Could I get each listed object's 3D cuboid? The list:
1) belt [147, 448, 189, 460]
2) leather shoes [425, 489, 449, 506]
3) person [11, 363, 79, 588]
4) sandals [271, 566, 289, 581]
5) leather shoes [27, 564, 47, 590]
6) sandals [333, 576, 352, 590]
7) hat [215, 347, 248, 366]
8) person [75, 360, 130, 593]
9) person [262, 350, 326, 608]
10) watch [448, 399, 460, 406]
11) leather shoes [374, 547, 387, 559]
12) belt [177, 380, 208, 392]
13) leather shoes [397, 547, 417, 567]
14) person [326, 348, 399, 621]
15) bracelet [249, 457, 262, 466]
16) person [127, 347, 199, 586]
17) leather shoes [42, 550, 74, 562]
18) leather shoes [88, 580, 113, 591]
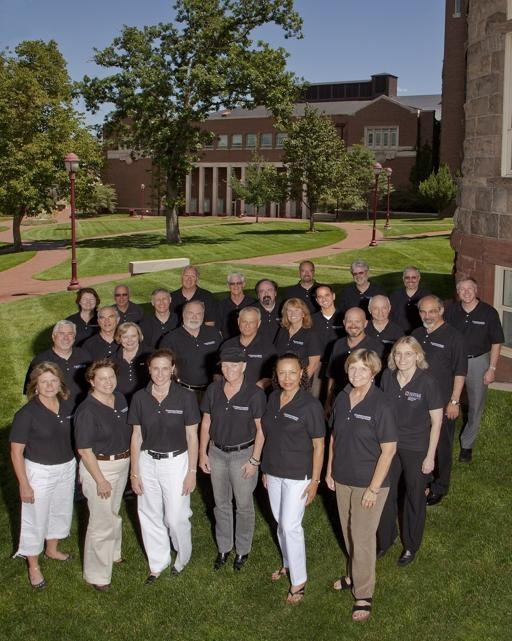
[{"bbox_3d":[-0.767,1.131,4.588,0.321,0.070,0.082,-1,7,-6],"label":"belt"},{"bbox_3d":[2.125,2.037,6.326,0.396,0.146,0.151,-1,-2,-29],"label":"leather shoes"},{"bbox_3d":[-1.845,1.341,4.735,0.383,2.007,0.636,1,8,15],"label":"person"},{"bbox_3d":[0.214,2.273,4.912,0.251,0.097,0.075,9,-10,-43],"label":"sandals"},{"bbox_3d":[-1.950,2.268,4.810,0.089,0.096,0.255,-1,10,-36],"label":"leather shoes"},{"bbox_3d":[0.750,2.297,4.740,0.166,0.051,0.079,0,40,6],"label":"sandals"},{"bbox_3d":[-0.198,0.312,4.726,0.152,0.132,0.285,6,10,41],"label":"hat"},{"bbox_3d":[-1.293,1.344,4.646,0.508,2.042,0.369,-6,9,-32],"label":"person"},{"bbox_3d":[0.275,1.308,4.515,0.433,2.107,0.543,-3,8,-20],"label":"person"},{"bbox_3d":[2.170,0.891,5.925,0.085,0.055,0.089,4,-5,-8],"label":"watch"},{"bbox_3d":[1.176,2.212,5.203,0.114,0.124,0.149,-11,-21,31],"label":"leather shoes"},{"bbox_3d":[-0.782,0.817,6.723,0.309,0.075,0.305,2,0,17],"label":"belt"},{"bbox_3d":[1.417,2.233,5.136,0.092,0.088,0.218,-13,5,32],"label":"leather shoes"},{"bbox_3d":[0.830,1.304,4.351,0.375,2.172,0.605,-3,8,-20],"label":"person"},{"bbox_3d":[-0.010,1.243,4.811,0.092,0.045,0.069,21,1,-25],"label":"bracelet"},{"bbox_3d":[-0.795,1.303,4.728,0.617,2.127,0.357,-1,8,-2],"label":"person"},{"bbox_3d":[-1.923,2.270,5.278,0.271,0.066,0.096,0,6,8],"label":"leather shoes"},{"bbox_3d":[-1.366,2.328,4.776,0.170,0.045,0.065,1,-1,27],"label":"leather shoes"}]
